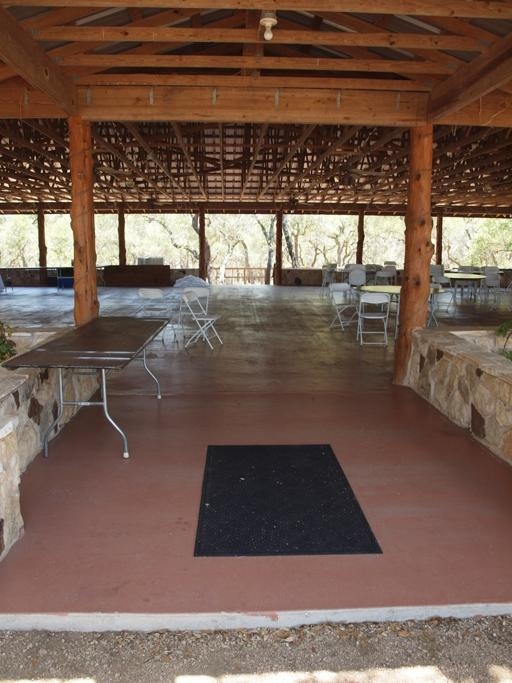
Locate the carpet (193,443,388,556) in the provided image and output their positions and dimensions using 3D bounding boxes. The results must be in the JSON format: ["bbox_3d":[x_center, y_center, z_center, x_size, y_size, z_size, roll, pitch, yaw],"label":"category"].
[{"bbox_3d":[0.104,0.769,2.355,0.780,0.025,0.979,0,8,-1],"label":"carpet"}]
